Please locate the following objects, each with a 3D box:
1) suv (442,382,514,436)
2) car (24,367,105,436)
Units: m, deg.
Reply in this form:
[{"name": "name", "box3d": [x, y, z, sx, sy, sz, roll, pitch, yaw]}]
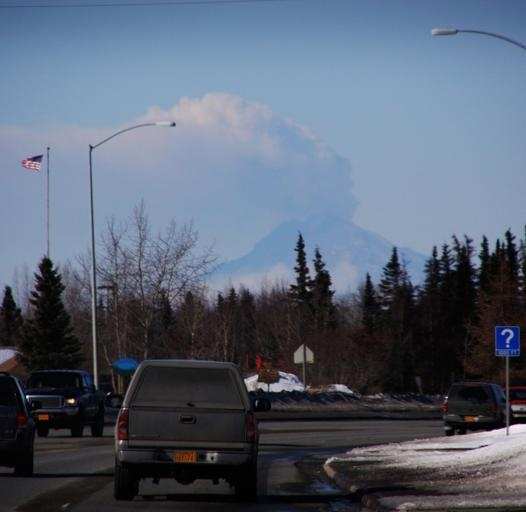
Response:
[{"name": "suv", "box3d": [6.388, 4.392, 35.598, 1.010, 1.085, 2.199, -1, 0, 18]}, {"name": "car", "box3d": [-5.379, 4.089, 33.563, 1.420, 1.214, 2.688, -1, -10, 3]}]
